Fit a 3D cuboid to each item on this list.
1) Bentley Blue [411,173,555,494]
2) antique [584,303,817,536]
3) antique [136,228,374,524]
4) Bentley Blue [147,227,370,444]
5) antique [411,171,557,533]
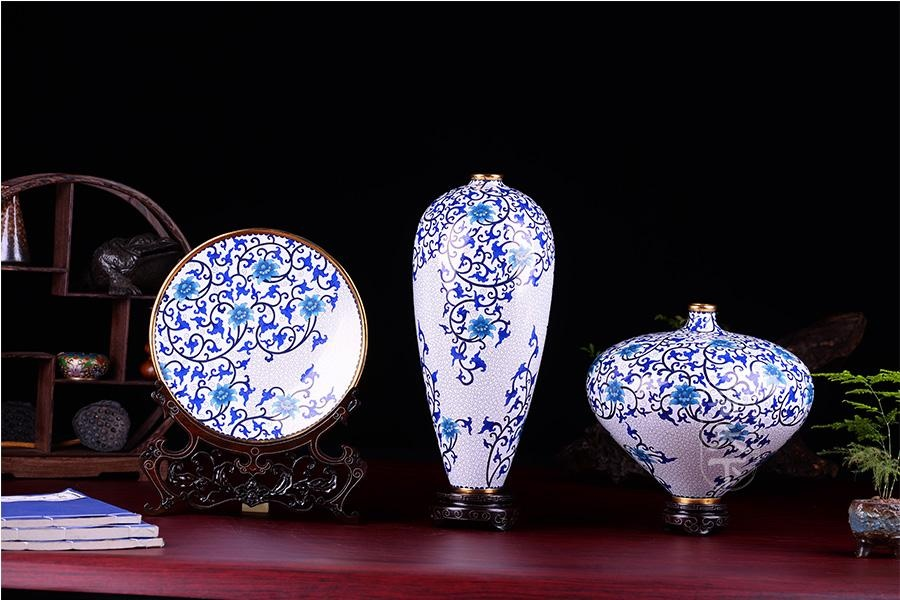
[{"bbox_3d":[0.104,0.071,3.046,0.405,0.731,0.311,1,4,3],"label":"Bentley Blue"},{"bbox_3d":[0.541,0.310,3.117,0.650,0.525,0.558,0,1,-1],"label":"antique"},{"bbox_3d":[-0.519,0.180,3.189,0.766,0.695,0.415,-2,1,-8],"label":"antique"},{"bbox_3d":[-0.530,0.100,3.185,0.679,0.638,0.133,1,-11,-2],"label":"Bentley Blue"},{"bbox_3d":[0.106,0.120,3.176,0.401,0.826,0.309,1,4,5],"label":"antique"}]
